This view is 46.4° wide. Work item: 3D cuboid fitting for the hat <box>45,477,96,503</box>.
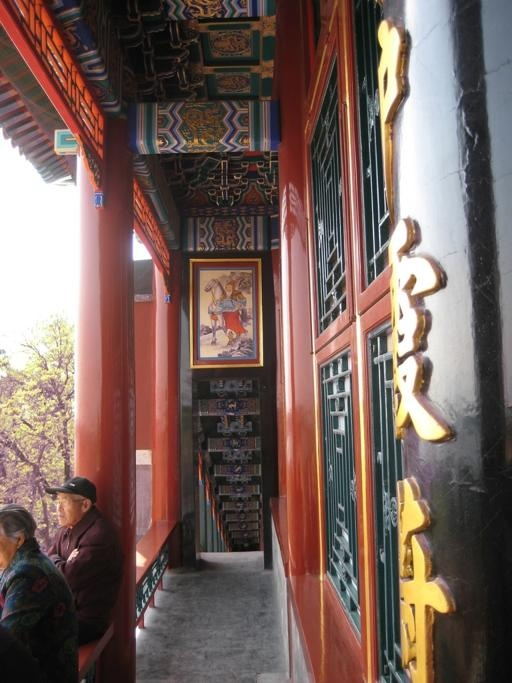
[{"bbox_3d":[-0.923,0.765,3.010,0.198,0.128,0.136,26,-22,-16],"label":"hat"}]
